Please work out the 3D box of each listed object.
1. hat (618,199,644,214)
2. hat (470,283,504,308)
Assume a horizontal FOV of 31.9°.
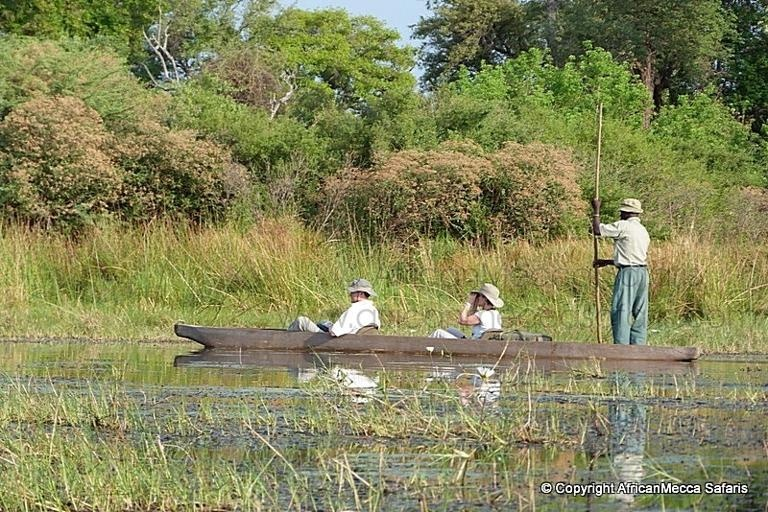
[{"bbox_3d":[5.525,-1.089,30.321,0.423,0.206,0.481,3,-1,7],"label":"hat"},{"bbox_3d":[2.280,0.949,30.681,0.678,0.311,0.567,33,15,19],"label":"hat"}]
